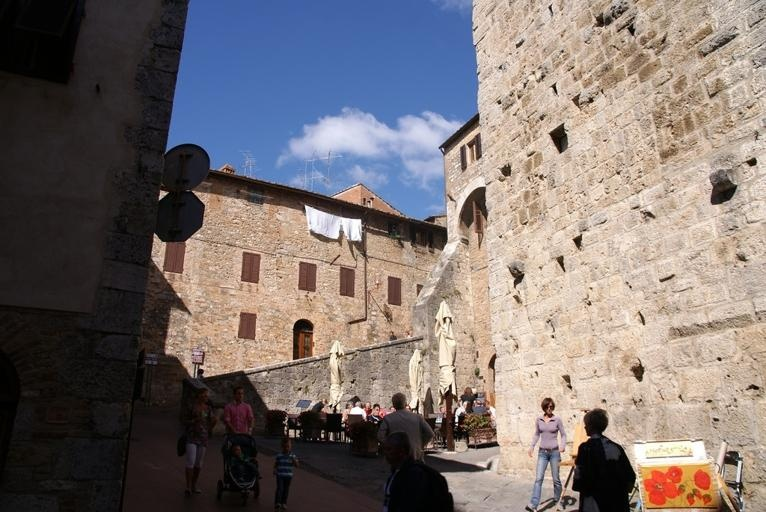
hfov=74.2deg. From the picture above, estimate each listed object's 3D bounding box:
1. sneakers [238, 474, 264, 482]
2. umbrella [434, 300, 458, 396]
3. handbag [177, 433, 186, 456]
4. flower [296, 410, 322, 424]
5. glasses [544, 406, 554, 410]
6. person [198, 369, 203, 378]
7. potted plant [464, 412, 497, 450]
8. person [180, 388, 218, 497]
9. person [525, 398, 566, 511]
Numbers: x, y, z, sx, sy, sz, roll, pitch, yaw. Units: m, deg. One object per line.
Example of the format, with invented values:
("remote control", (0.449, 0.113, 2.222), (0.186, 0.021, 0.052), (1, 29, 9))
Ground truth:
("sneakers", (-1.983, 3.243, 7.377), (0.171, 0.088, 0.232), (12, -29, -31))
("umbrella", (2.030, 2.953, 16.461), (0.715, 3.065, 1.760), (4, -12, 6))
("handbag", (-2.955, 2.774, 7.445), (0.107, 0.294, 0.395), (9, -13, -17))
("flower", (-2.089, 4.629, 14.715), (0.494, 0.333, 0.491), (4, -23, 2))
("glasses", (2.437, 2.219, 7.389), (0.087, 0.072, 0.096), (1, -36, 6))
("person", (-6.370, 4.085, 17.667), (0.154, 0.254, 2.978), (9, -12, -18))
("potted plant", (2.716, 4.825, 14.056), (1.092, 0.918, 0.422), (14, -15, -36))
("person", (-2.865, 2.799, 7.824), (0.398, 1.489, 0.966), (9, -13, -15))
("person", (2.346, 2.832, 7.329), (0.505, 1.518, 0.925), (2, -13, 17))
